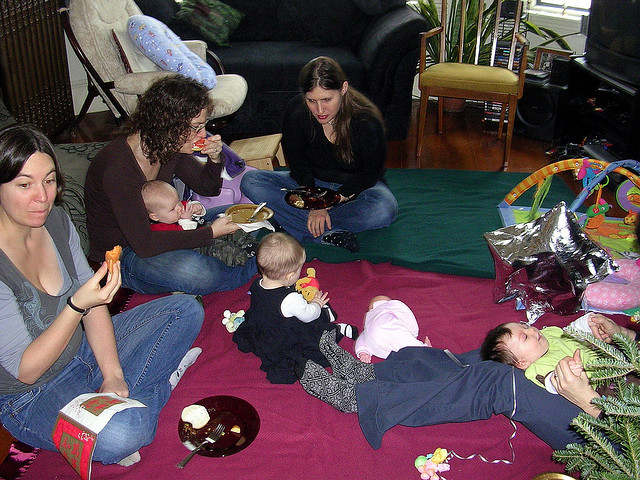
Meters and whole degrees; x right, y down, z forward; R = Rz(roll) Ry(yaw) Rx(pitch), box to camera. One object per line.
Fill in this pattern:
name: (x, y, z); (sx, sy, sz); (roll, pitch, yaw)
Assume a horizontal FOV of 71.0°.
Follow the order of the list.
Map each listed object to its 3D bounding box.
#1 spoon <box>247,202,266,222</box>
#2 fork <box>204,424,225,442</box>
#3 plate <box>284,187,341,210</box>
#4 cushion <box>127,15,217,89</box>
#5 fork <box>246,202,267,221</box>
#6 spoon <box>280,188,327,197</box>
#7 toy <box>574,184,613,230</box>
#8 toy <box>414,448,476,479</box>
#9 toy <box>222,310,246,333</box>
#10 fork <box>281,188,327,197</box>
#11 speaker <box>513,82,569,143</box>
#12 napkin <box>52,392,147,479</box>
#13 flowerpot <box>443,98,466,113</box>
spoon: (-0.375, -0.172, 2.709); (0.057, 0.028, 0.162); (20, 70, 8)
fork: (-0.426, 0.787, 1.826); (0.025, 0.014, 0.099); (29, 44, 17)
plate: (-0.045, -0.270, 2.913); (0.362, 0.080, 0.236); (1, 27, 1)
cushion: (-1.115, -1.420, 3.429); (0.670, 0.501, 0.459); (19, 32, 32)
fork: (-0.379, -0.169, 2.699); (0.042, 0.179, 0.027); (-1, 70, -29)
spoon: (-0.097, -0.308, 2.941); (0.312, 0.053, 0.060); (0, 24, 1)
toy: (1.718, -0.213, 2.780); (0.129, 0.291, 0.154); (13, 30, 25)
toy: (0.451, 0.885, 1.766); (0.134, 0.064, 0.092); (-5, 27, -10)
toy: (-0.461, 0.421, 2.369); (0.113, 0.029, 0.113); (-10, 51, 13)
fork: (-0.095, -0.307, 2.937); (0.294, 0.050, 0.055); (-1, 25, 1)
speaker: (2.036, -1.219, 4.354); (0.489, 0.494, 0.372); (5, 4, 5)
napkin: (-0.796, 0.705, 1.695); (0.292, 0.107, 0.295); (18, 58, 25)
flowerpot: (1.502, -1.500, 5.076); (0.183, 0.129, 0.182); (-4, 33, -2)
